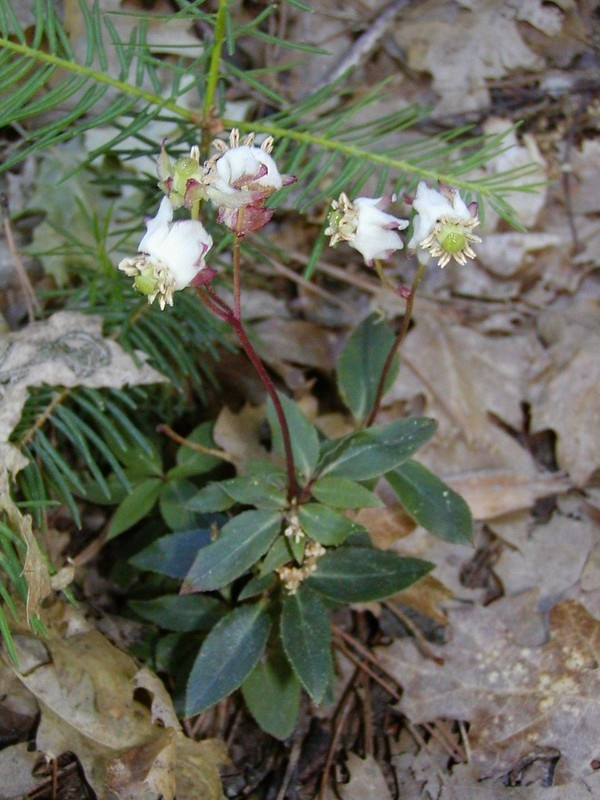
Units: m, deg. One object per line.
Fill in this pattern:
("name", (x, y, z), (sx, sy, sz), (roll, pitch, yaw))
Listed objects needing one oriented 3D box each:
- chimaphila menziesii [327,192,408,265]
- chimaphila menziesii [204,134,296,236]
("chimaphila menziesii", (0.102, -0.268, 1.321), (0.125, 0.123, 0.077), (11, 42, -2))
("chimaphila menziesii", (-0.076, -0.290, 1.187), (0.154, 0.127, 0.071), (3, -1, -5))
